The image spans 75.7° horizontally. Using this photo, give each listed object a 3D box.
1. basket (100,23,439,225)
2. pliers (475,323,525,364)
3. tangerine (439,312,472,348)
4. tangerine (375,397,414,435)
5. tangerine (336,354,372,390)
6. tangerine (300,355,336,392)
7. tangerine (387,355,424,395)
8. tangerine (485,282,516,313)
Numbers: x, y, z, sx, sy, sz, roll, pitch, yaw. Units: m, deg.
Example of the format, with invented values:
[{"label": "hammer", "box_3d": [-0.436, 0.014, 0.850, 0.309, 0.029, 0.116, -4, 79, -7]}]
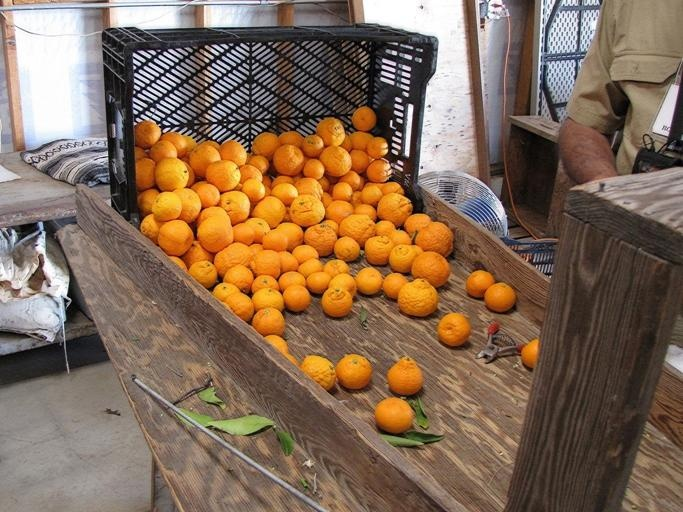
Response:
[{"label": "basket", "box_3d": [-0.396, -0.452, 1.946, 1.167, 0.897, 0.916, -8, 26, -20]}, {"label": "pliers", "box_3d": [0.443, 0.235, 1.195, 0.103, 0.057, 0.157, 11, 23, 29]}, {"label": "tangerine", "box_3d": [0.036, 0.280, 1.069, 0.088, 0.064, 0.081, -15, 25, -12]}, {"label": "tangerine", "box_3d": [0.112, 0.342, 0.944, 0.083, 0.064, 0.074, 2, 5, 3]}, {"label": "tangerine", "box_3d": [0.029, 0.274, 1.047, 0.090, 0.069, 0.088, 11, -23, -42]}, {"label": "tangerine", "box_3d": [-0.058, 0.278, 1.055, 0.087, 0.079, 0.095, 10, 23, 25]}, {"label": "tangerine", "box_3d": [0.151, 0.286, 1.082, 0.099, 0.089, 0.091, 2, 10, 4]}, {"label": "tangerine", "box_3d": [0.475, 0.124, 1.356, 0.094, 0.079, 0.089, 27, 11, 8]}]
